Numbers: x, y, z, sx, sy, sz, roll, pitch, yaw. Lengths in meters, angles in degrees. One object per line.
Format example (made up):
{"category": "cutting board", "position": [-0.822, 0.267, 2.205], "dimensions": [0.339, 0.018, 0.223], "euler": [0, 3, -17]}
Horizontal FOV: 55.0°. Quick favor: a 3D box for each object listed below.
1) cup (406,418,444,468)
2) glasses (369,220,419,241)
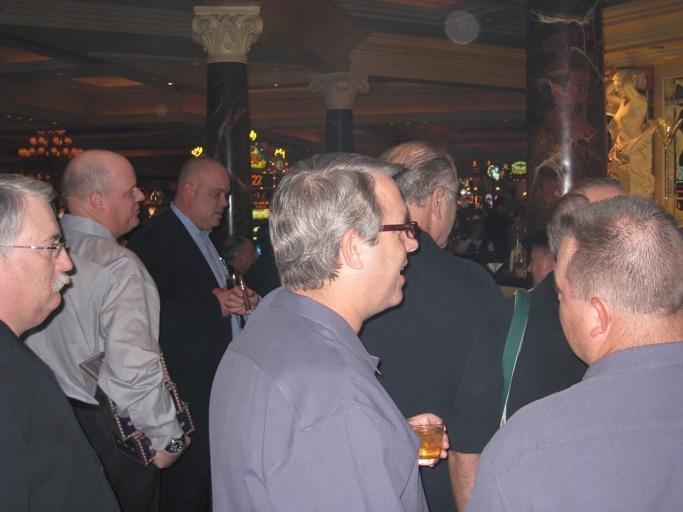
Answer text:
{"category": "cup", "position": [0.274, 0.575, 2.098], "dimensions": [0.164, 0.152, 0.187], "euler": [0, -7, -1]}
{"category": "glasses", "position": [0.182, -0.077, 1.972], "dimensions": [0.053, 0.056, 0.157], "euler": [7, 7, 38]}
